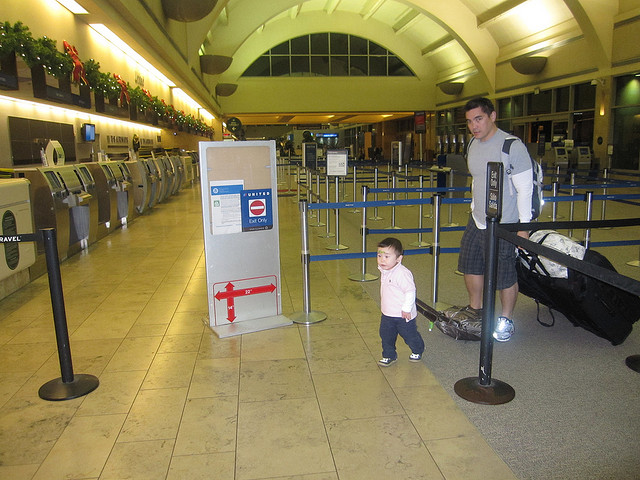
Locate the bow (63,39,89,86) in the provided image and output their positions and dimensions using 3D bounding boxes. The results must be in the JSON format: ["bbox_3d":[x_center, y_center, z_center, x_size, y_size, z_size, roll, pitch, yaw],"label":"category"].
[{"bbox_3d":[-4.055,-2.989,7.281,0.294,0.693,1.117,-7,14,-26],"label":"bow"}]

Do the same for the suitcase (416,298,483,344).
[{"bbox_3d":[1.128,0.650,3.767,0.624,0.270,0.403,0,22,4],"label":"suitcase"}]

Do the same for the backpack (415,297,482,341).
[{"bbox_3d":[1.075,0.681,3.759,0.522,0.226,0.358,2,11,6],"label":"backpack"}]

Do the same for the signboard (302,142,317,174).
[{"bbox_3d":[-0.263,-2.185,11.492,0.345,0.688,0.856,-2,12,-4],"label":"signboard"}]

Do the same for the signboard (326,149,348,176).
[{"bbox_3d":[0.317,-1.443,8.277,0.393,0.498,0.428,-1,12,-1],"label":"signboard"}]

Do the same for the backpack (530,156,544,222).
[{"bbox_3d":[1.706,-0.392,3.466,0.104,0.485,0.472,4,14,25],"label":"backpack"}]

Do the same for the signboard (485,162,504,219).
[{"bbox_3d":[1.100,-0.323,2.820,0.157,0.346,0.039,4,-2,-27],"label":"signboard"}]
